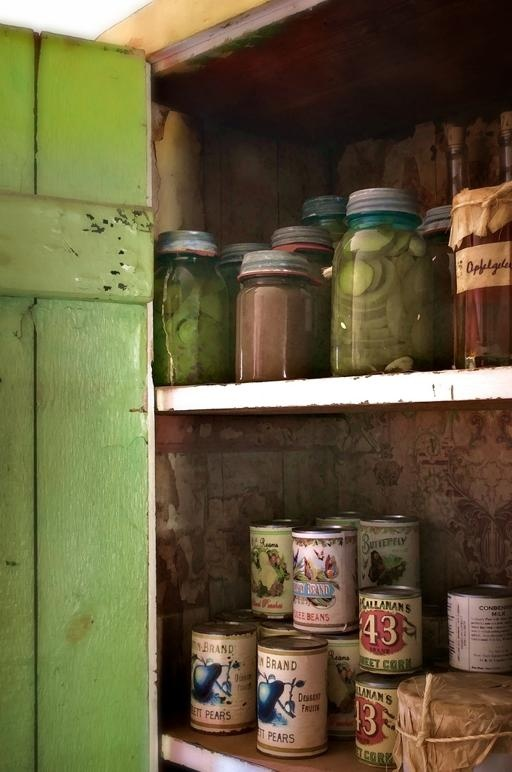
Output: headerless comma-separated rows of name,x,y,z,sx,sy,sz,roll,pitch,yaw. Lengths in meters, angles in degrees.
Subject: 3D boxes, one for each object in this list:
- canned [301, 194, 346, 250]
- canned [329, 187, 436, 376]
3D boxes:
canned,0.104,-0.227,1.116,0.071,0.068,0.072,-1,-2,14
canned,0.138,-0.116,0.873,0.114,0.207,0.076,-3,-2,13
